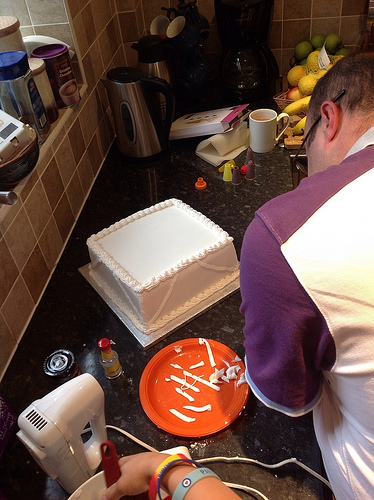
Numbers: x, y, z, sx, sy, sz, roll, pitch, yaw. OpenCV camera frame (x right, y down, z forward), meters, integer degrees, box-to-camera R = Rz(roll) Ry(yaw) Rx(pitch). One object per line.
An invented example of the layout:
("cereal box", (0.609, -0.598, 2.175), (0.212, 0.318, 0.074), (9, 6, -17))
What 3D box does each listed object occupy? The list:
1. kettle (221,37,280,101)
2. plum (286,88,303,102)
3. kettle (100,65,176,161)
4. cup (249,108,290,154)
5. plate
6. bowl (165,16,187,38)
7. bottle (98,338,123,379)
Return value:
("kettle", (0.319, -0.953, 1.976), (0.268, 0.272, 0.222), (10, 39, 19))
("plum", (0.541, -0.782, 1.908), (0.068, 0.087, 0.072), (13, 34, 9))
("kettle", (-0.211, -0.592, 1.643), (0.350, 0.394, 0.238), (10, 54, 9))
("cup", (0.376, -0.531, 1.704), (0.165, 0.154, 0.108), (-2, 40, 10))
("plate", (0.023, 0.319, 0.900), (0.253, 0.018, 0.260), (-28, 33, -32))
("bowl", (-0.050, -1.041, 1.773), (0.099, 0.069, 0.084), (-13, 44, -4))
("bottle", (-0.190, 0.272, 0.935), (0.041, 0.101, 0.041), (-2, 45, 2))
